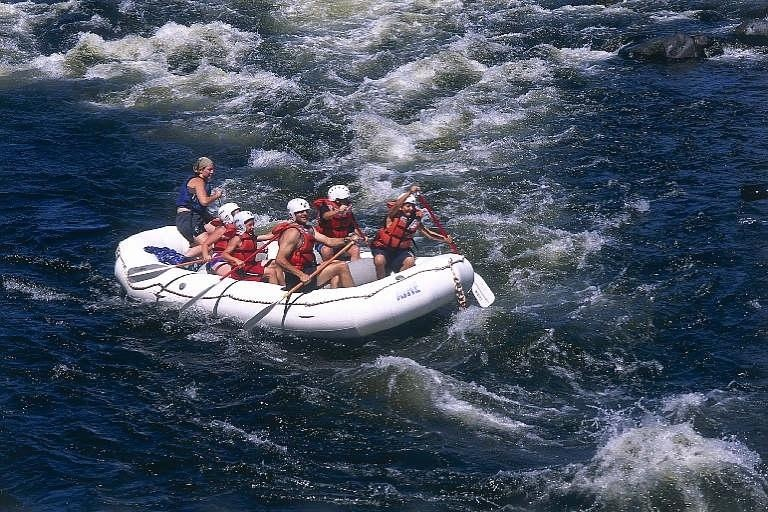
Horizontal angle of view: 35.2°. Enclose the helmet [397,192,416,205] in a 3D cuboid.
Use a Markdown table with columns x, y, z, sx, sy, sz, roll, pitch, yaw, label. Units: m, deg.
| x | y | z | sx | sy | sz | roll | pitch | yaw | label |
| --- | --- | --- | --- | --- | --- | --- | --- | --- | --- |
| 0.576 | -1.562 | 32.285 | 0.515 | 0.421 | 0.515 | -1 | 21 | -1 | helmet |
